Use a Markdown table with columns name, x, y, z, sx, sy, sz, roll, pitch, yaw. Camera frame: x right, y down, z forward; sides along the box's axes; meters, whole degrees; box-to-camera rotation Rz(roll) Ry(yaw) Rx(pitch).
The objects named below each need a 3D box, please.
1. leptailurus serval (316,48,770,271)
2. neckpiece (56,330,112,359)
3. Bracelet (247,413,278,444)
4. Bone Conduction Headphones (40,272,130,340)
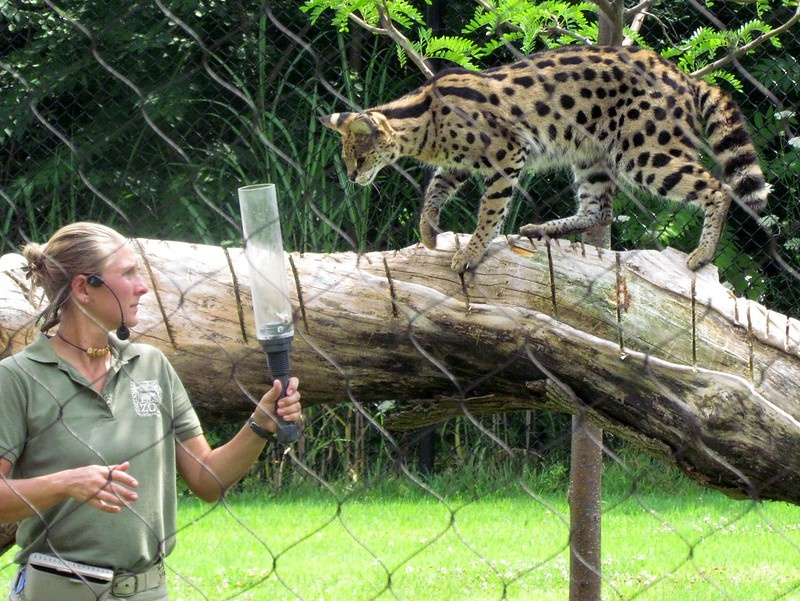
| name | x | y | z | sx | sy | sz | roll | pitch | yaw |
| --- | --- | --- | --- | --- | --- | --- | --- | --- | --- |
| leptailurus serval | 0.773 | -0.778 | 6.427 | 2.104 | 0.979 | 0.981 | 4 | 21 | 7 |
| neckpiece | -1.290 | 0.152 | 5.234 | 0.159 | 0.038 | 0.126 | 27 | 14 | 20 |
| Bracelet | -0.575 | 0.526 | 5.264 | 0.124 | 0.031 | 0.091 | 32 | -2 | 0 |
| Bone Conduction Headphones | -1.270 | 0.034 | 5.239 | 0.387 | 0.315 | 0.171 | 7 | 22 | 15 |
